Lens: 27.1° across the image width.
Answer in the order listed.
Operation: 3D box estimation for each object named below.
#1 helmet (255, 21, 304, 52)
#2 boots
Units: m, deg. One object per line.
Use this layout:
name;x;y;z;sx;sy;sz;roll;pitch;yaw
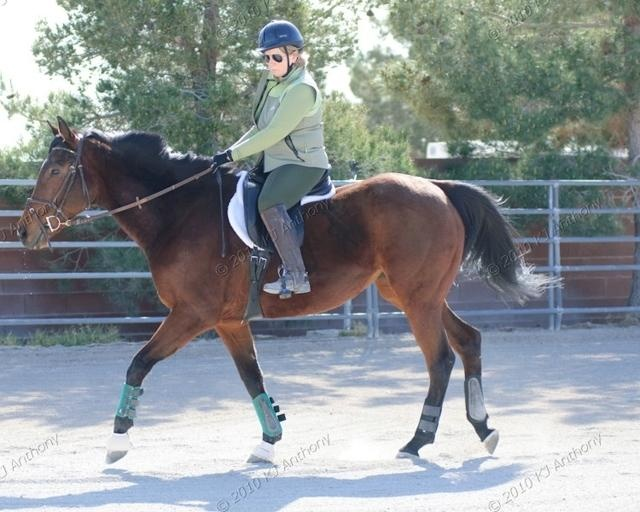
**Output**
helmet;-0.493;-2.667;16.083;0.499;0.262;0.376;9;-14;-42
boots;-0.421;-0.055;15.932;0.528;1.064;0.384;-2;15;-8
